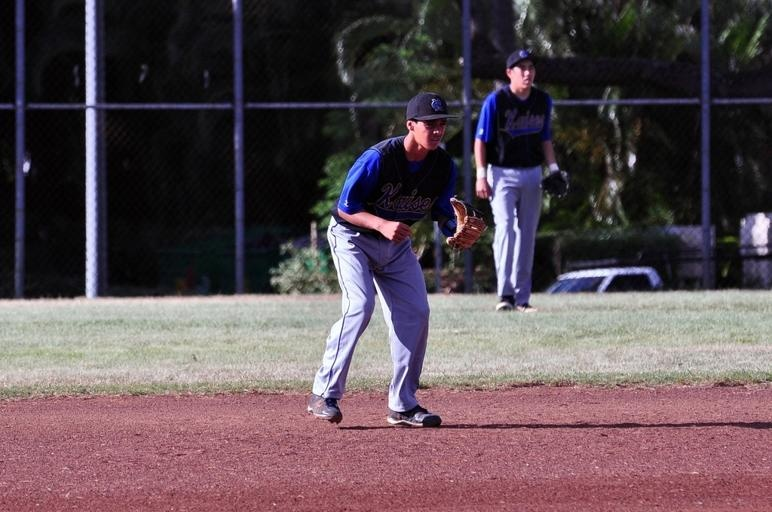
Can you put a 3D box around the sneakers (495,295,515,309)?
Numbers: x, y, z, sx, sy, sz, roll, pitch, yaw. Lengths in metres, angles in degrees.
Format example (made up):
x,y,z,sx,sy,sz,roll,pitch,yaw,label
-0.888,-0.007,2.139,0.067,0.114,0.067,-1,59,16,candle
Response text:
x,y,z,sx,sy,sz,roll,pitch,yaw,label
1.360,0.550,17.069,0.247,0.115,0.091,6,-9,-33,sneakers

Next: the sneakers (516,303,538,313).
x,y,z,sx,sy,sz,roll,pitch,yaw,label
1.612,0.595,17.049,0.275,0.128,0.097,-4,-3,26,sneakers

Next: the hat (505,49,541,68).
x,y,z,sx,sy,sz,roll,pitch,yaw,label
1.546,-2.231,16.903,0.312,0.250,0.385,0,-2,-24,hat

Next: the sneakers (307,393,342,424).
x,y,z,sx,sy,sz,roll,pitch,yaw,label
-0.580,1.417,13.828,0.160,0.223,0.417,6,0,-41,sneakers

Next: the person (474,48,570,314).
x,y,z,sx,sy,sz,roll,pitch,yaw,label
1.523,-0.828,17.024,1.002,2.928,0.730,0,-2,-5,person

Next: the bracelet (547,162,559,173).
x,y,z,sx,sy,sz,roll,pitch,yaw,label
1.951,-1.013,17.244,0.130,0.084,0.134,-7,-45,0,bracelet

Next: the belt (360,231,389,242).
x,y,z,sx,sy,sz,roll,pitch,yaw,label
-0.117,-0.185,13.850,0.157,0.043,0.127,11,-7,21,belt

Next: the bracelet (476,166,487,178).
x,y,z,sx,sy,sz,roll,pitch,yaw,label
1.089,-0.946,16.922,0.105,0.111,0.108,1,-5,-11,bracelet

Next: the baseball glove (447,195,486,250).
x,y,z,sx,sy,sz,roll,pitch,yaw,label
0.753,-0.385,14.261,0.296,0.501,0.661,18,31,-9,baseball glove

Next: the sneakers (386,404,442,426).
x,y,z,sx,sy,sz,roll,pitch,yaw,label
0.261,1.480,13.815,0.434,0.211,0.200,-1,-7,12,sneakers

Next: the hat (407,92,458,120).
x,y,z,sx,sy,sz,roll,pitch,yaw,label
0.387,-1.353,13.621,0.242,0.198,0.338,-3,4,-40,hat
